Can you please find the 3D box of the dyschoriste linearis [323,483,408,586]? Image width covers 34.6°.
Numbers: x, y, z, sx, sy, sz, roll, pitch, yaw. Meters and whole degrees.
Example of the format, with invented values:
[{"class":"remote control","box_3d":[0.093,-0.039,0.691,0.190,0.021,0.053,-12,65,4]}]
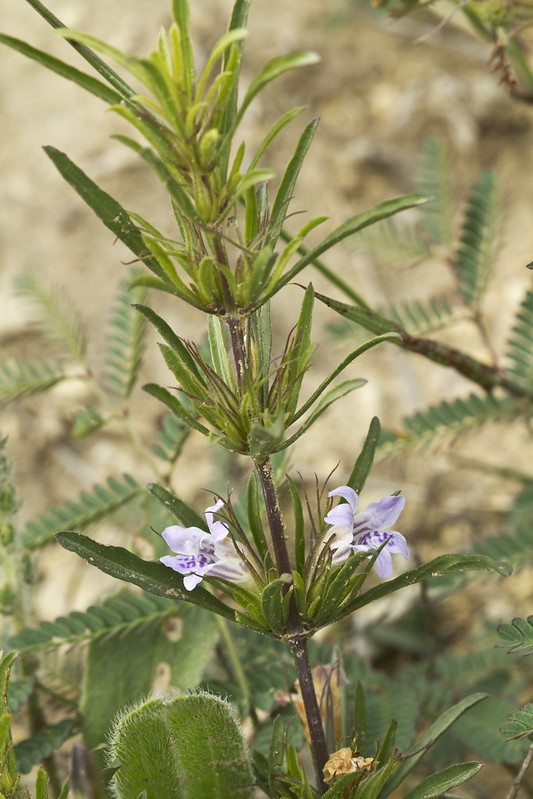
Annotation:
[{"class":"dyschoriste linearis","box_3d":[0.066,0.118,0.769,0.098,0.082,0.046,18,-32,-42]}]
